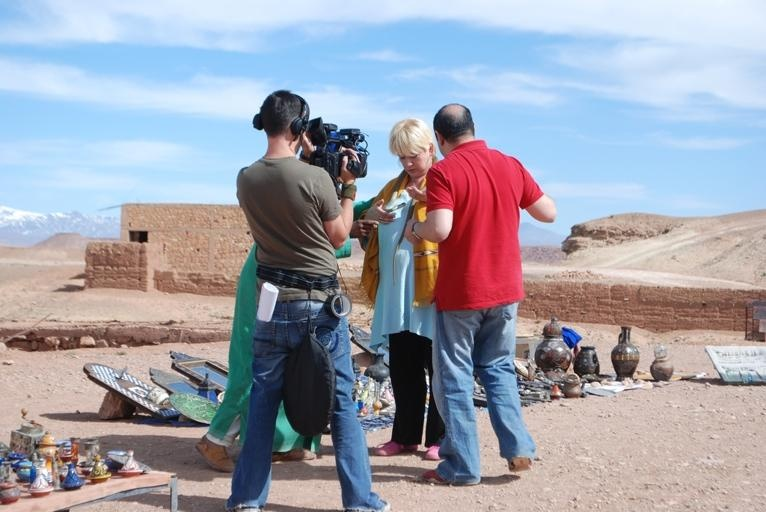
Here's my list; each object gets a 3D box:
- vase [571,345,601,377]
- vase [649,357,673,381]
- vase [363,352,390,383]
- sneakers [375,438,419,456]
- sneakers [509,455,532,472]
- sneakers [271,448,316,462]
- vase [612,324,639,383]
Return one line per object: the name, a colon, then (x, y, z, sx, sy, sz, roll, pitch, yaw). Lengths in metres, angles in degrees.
vase: (3.048, 1.592, 12.430, 0.460, 0.410, 0.434, 2, 2, -11)
vase: (4.060, 1.650, 12.041, 0.333, 0.339, 0.334, -4, 1, -43)
vase: (-0.085, 1.403, 10.372, 0.440, 0.367, 0.426, 2, -5, 19)
sneakers: (0.116, 1.926, 8.275, 0.453, 0.155, 0.154, 4, -4, -8)
sneakers: (1.249, 1.921, 7.537, 0.202, 0.168, 0.125, 0, 1, 22)
sneakers: (-0.903, 1.981, 8.251, 0.443, 0.152, 0.138, -2, 0, -5)
vase: (3.541, 1.436, 12.044, 0.378, 0.758, 0.989, 0, 0, 16)
